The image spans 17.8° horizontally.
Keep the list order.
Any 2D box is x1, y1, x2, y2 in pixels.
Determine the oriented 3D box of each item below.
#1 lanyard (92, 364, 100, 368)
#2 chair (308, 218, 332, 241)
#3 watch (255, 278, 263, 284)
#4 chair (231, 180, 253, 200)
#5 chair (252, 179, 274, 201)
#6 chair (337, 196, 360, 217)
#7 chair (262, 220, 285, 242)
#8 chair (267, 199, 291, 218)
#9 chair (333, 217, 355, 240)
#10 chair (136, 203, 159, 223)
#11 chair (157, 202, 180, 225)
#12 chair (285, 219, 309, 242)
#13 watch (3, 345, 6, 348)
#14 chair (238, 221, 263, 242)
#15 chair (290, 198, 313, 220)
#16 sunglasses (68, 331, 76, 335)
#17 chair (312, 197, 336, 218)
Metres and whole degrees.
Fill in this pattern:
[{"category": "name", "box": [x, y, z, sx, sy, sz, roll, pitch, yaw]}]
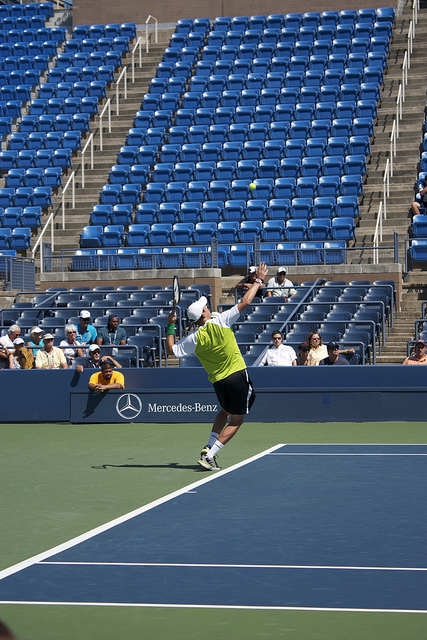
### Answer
[{"category": "lanyard", "box": [-1.535, 0.582, 17.775, 0.058, 0.014, 0.060, 10, 29, -14]}, {"category": "chair", "box": [1.975, -1.728, 25.161, 0.436, 0.481, 0.433, -1, -5, 10]}, {"category": "watch", "box": [0.433, -0.392, 13.047, 0.053, 0.051, 0.024, -9, -16, 7]}, {"category": "chair", "box": [0.578, -2.675, 27.668, 0.445, 0.352, 0.618, -2, 11, 1]}, {"category": "chair", "box": [1.016, -2.688, 27.600, 0.481, 0.540, 0.441, 0, -10, 6]}, {"category": "chair", "box": [2.571, -2.197, 26.029, 0.366, 0.448, 0.454, -1, -7, 7]}, {"category": "chair", "box": [1.137, -1.697, 25.433, 0.355, 0.461, 0.449, 0, -8, 6]}, {"category": "chair", "box": [1.269, -2.179, 26.349, 0.457, 0.317, 0.639, -2, 11, 2]}, {"category": "chair", "box": [2.371, -1.708, 25.024, 0.342, 0.400, 0.458, 4, 12, 11]}, {"category": "chair", "box": [-1.330, -2.212, 27.390, 0.440, 0.513, 0.431, 1, -6, 3]}, {"category": "chair", "box": [-0.897, -2.166, 27.181, 0.475, 0.344, 0.468, -1, 7, 0]}, {"category": "chair", "box": [1.556, -1.699, 25.190, 0.440, 0.482, 0.407, 0, -10, 10]}, {"category": "watch", "box": [-2.937, 0.360, 19.136, 0.031, 0.035, 0.039, -1, -9, -1]}, {"category": "chair", "box": [0.681, -1.725, 25.606, 0.463, 0.505, 0.413, 0, -12, 6]}, {"category": "chair", "box": [1.691, -2.158, 26.165, 0.420, 0.351, 0.596, -2, 11, 4]}, {"category": "sunglasses", "box": [-1.979, 0.156, 19.060, 0.064, 0.030, 0.128, 7, 14, 42]}, {"category": "chair", "box": [2.121, -2.166, 26.074, 0.418, 0.386, 0.417, 3, 9, 13]}]
